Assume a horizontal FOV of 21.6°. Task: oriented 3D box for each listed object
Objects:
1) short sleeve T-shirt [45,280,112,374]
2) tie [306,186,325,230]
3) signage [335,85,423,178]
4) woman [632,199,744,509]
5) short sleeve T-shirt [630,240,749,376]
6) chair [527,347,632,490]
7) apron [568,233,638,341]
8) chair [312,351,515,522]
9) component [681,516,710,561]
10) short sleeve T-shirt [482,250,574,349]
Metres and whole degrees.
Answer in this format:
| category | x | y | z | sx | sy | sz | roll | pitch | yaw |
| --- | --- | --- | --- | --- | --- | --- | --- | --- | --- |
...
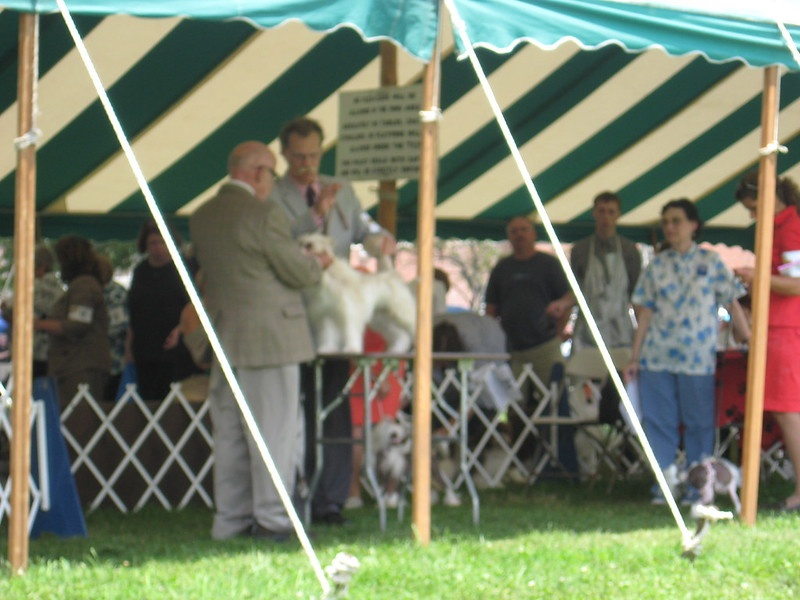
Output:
| category | x | y | z | sx | sy | sz | roll | pitch | yaw |
| --- | --- | --- | --- | --- | --- | --- | --- | --- | --- |
| short sleeve T-shirt | -2.565 | 0.183 | 16.959 | 0.393 | 0.979 | 0.683 | 1 | 15 | -5 |
| tie | -0.639 | -0.710 | 15.626 | 0.077 | 0.457 | 0.119 | -12 | -13 | -7 |
| signage | -0.137 | -1.293 | 16.241 | 0.546 | 0.774 | 0.031 | 4 | 6 | 32 |
| woman | 2.269 | 0.363 | 16.328 | 0.832 | 2.528 | 0.507 | 6 | 23 | 21 |
| short sleeve T-shirt | 2.231 | 0.223 | 16.280 | 0.827 | 1.291 | 0.492 | -3 | -36 | 12 |
| chair | 1.567 | 0.966 | 17.652 | 0.746 | 1.771 | 0.929 | -3 | -7 | 38 |
| apron | 1.862 | -0.006 | 18.342 | 0.500 | 1.088 | 0.428 | -10 | -18 | 26 |
| chair | 0.274 | 0.991 | 16.255 | 1.317 | 1.303 | 1.141 | 3 | -6 | -43 |
| component | 2.079 | 1.705 | 14.681 | 0.116 | 0.423 | 0.094 | 14 | -4 | 35 |
| short sleeve T-shirt | 1.118 | 0.045 | 18.569 | 0.841 | 1.325 | 0.643 | -2 | -16 | 9 |
